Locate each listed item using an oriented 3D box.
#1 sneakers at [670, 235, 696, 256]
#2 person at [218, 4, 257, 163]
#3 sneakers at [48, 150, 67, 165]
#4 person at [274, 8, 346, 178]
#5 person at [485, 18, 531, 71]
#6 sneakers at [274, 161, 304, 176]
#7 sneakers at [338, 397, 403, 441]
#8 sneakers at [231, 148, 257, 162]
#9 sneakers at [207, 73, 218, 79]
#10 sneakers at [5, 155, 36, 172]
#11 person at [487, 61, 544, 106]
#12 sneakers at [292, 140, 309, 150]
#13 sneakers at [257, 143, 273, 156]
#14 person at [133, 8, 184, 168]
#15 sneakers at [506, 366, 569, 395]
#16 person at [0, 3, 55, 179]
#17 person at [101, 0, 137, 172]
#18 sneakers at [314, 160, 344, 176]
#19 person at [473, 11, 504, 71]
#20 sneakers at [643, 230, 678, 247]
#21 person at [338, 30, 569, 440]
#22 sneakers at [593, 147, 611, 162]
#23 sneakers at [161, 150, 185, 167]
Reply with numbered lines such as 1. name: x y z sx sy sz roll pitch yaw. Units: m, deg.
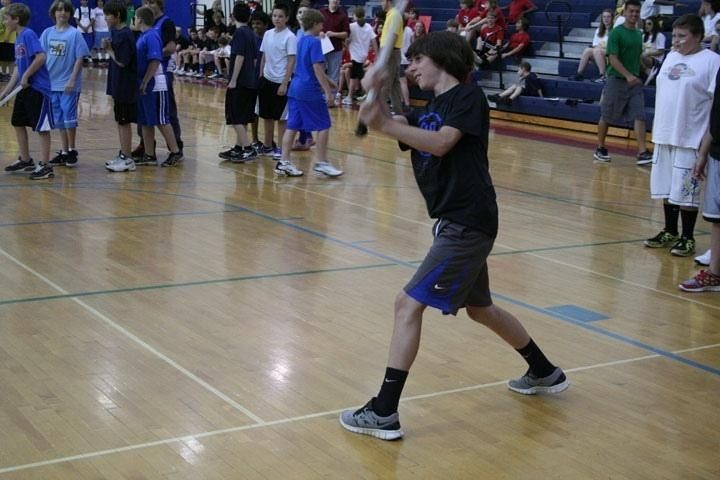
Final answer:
1. sneakers: 3.328 0.077 6.139 0.141 0.148 0.335 -1 0 42
2. person: -1.898 -2.266 9.364 0.612 2.079 0.462 -2 15 -17
3. sneakers: -4.380 -1.189 8.773 0.405 0.171 0.144 0 9 -30
4. person: -0.739 -2.077 8.576 0.877 2.323 0.531 1 15 -4
5. person: 3.856 -5.296 16.185 1.632 0.981 0.724 -16 27 -12
6. sneakers: -1.052 -1.016 8.679 0.466 0.238 0.173 7 27 -15
7. sneakers: 0.059 0.936 3.130 0.377 0.183 0.146 8 5 25
8. sneakers: -1.831 -1.321 9.458 0.413 0.183 0.175 -8 10 -41
9. sneakers: -5.735 -6.300 23.043 0.222 0.246 0.587 -7 16 -31
10. sneakers: -4.688 -1.040 8.138 0.481 0.232 0.168 -3 12 -25
11. person: 3.927 -3.890 15.067 1.325 0.909 0.685 -17 23 -12
12. sneakers: -1.064 -1.680 10.735 0.343 0.144 0.126 3 4 -5
13. sneakers: -1.630 -1.535 10.250 0.361 0.162 0.132 12 26 5
14. person: -2.973 -2.228 8.684 0.648 2.268 1.012 -3 15 -17
15. sneakers: 1.040 0.821 3.533 0.380 0.174 0.145 -1 2 7
16. person: -4.413 -1.787 7.903 0.618 1.889 0.743 -10 19 -40
17. person: -3.434 -2.173 8.505 0.513 2.354 0.600 -4 16 -22
18. sneakers: -0.473 -1.049 8.757 0.477 0.217 0.177 4 18 -1
19. person: 3.357 -5.416 15.985 0.730 1.187 1.215 18 34 40
20. sneakers: 3.194 -0.001 6.362 0.375 0.160 0.147 1 5 -10
21. person: 0.460 -0.039 3.138 1.190 2.020 0.432 -5 16 -27
22. sneakers: 4.372 -1.533 10.847 0.166 0.183 0.423 -3 6 -5
23. sneakers: -2.822 -1.222 9.056 0.167 0.178 0.423 1 7 18
